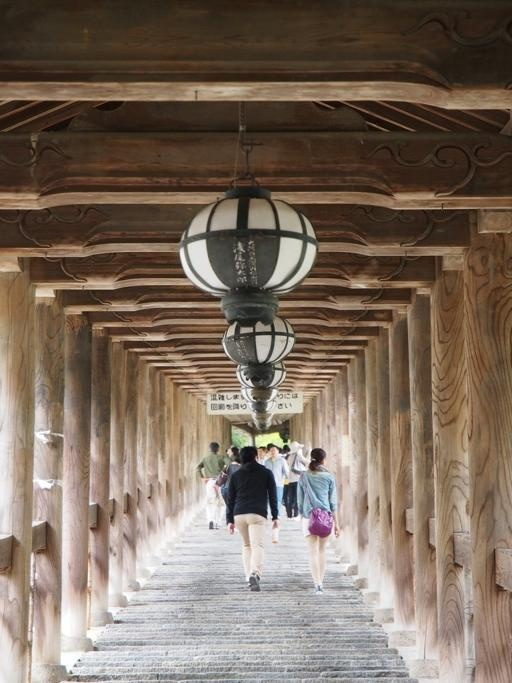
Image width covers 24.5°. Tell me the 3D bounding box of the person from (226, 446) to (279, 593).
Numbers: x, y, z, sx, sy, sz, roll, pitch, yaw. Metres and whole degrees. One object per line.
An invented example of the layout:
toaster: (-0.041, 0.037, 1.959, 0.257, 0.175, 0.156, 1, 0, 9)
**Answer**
person: (-0.023, 1.480, 9.403, 0.410, 1.306, 0.518, -4, 13, -2)

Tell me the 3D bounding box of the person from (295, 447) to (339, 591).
person: (0.507, 1.489, 9.439, 0.309, 1.448, 0.921, -3, 13, 2)

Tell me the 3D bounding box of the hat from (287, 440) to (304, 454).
hat: (0.525, 1.404, 15.362, 0.258, 0.118, 0.306, -30, -3, 2)

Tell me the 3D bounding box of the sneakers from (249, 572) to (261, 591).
sneakers: (-0.007, 1.970, 9.656, 0.063, 0.186, 0.077, 0, 24, 3)

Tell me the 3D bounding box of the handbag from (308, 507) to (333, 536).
handbag: (0.484, 1.393, 9.031, 0.162, 0.220, 0.221, 7, 42, -3)

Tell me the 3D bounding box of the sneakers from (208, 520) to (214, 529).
sneakers: (-0.646, 2.647, 17.112, 0.042, 0.135, 0.087, 1, 1, -5)
